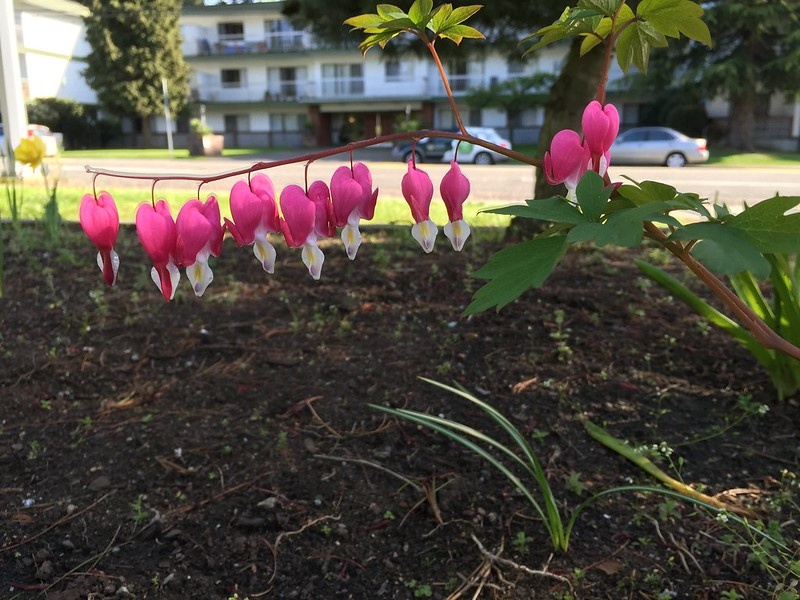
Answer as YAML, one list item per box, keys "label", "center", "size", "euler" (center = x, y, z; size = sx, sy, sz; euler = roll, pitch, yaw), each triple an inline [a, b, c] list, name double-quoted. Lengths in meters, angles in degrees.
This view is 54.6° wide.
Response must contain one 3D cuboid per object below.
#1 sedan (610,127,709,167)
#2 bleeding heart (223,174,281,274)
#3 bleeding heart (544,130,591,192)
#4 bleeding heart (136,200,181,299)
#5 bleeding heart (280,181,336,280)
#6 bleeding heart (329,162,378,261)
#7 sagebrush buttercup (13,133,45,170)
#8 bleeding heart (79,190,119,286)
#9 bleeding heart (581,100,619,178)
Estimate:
- label: "sedan"
  center: [5.163, -3.107, 15.930]
  size: [1.411, 0.779, 3.796]
  euler: [3, 15, 9]
- label: "bleeding heart"
  center: [-0.631, -0.337, 3.334]
  size: [0.229, 0.433, 0.210]
  euler: [-22, 3, -26]
- label: "bleeding heart"
  center: [0.697, -0.588, 3.277]
  size: [0.223, 0.266, 0.226]
  euler: [-6, 7, -21]
- label: "bleeding heart"
  center: [-1.039, -0.205, 3.315]
  size: [0.159, 0.456, 0.227]
  euler: [-4, 14, -19]
- label: "bleeding heart"
  center: [-0.397, -0.300, 3.302]
  size: [0.231, 0.404, 0.160]
  euler: [-2, 13, -12]
- label: "bleeding heart"
  center: [-0.232, -0.401, 3.370]
  size: [0.206, 0.468, 0.196]
  euler: [6, 29, 21]
- label: "sagebrush buttercup"
  center: [-2.622, -1.045, 5.502]
  size: [0.187, 0.246, 0.357]
  euler: [-5, 15, -24]
- label: "bleeding heart"
  center: [-1.317, -0.256, 3.413]
  size: [0.148, 0.452, 0.332]
  euler: [-5, 15, -21]
- label: "bleeding heart"
  center: [0.844, -0.696, 3.323]
  size: [0.146, 0.323, 0.307]
  euler: [7, 15, 24]
